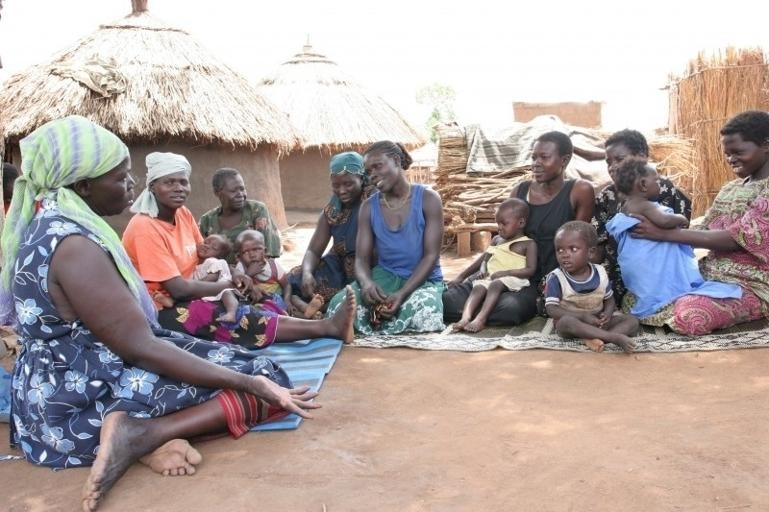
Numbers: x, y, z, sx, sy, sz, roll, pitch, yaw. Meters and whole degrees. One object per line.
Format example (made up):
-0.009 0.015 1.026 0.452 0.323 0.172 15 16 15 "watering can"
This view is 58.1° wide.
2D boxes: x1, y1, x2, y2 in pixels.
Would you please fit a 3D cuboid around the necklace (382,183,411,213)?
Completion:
0.110 -0.509 6.187 0.223 0.258 0.095 -1 -6 8 "necklace"

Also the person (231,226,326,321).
-0.927 0.231 5.985 0.520 0.768 1.131 -18 26 -31 "person"

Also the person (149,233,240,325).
-1.337 0.142 5.535 0.877 0.791 0.611 -5 -3 7 "person"

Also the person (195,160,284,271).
-1.355 -0.309 6.338 0.774 0.911 0.629 -4 13 4 "person"

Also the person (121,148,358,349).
-1.071 0.034 5.439 1.895 1.284 0.807 11 17 5 "person"
